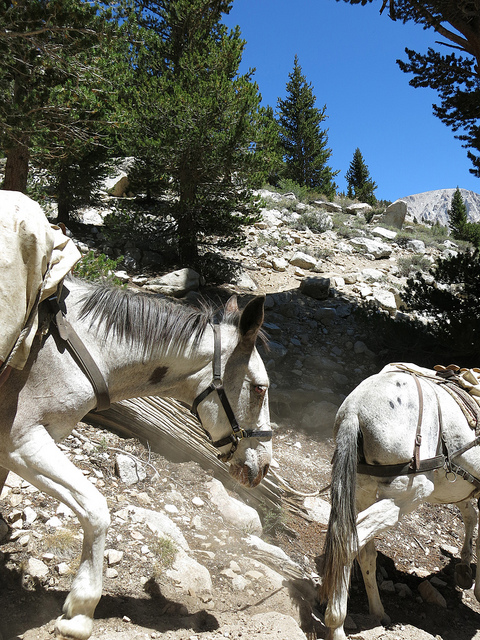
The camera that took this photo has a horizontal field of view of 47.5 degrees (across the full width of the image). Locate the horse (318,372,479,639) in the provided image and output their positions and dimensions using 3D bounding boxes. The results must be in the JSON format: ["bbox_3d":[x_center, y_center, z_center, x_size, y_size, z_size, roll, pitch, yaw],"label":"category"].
[{"bbox_3d":[1.271,1.420,4.304,1.894,1.931,0.684,2,8,-37],"label":"horse"}]

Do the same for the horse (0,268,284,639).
[{"bbox_3d":[-0.630,0.661,3.196,1.036,1.733,1.407,12,8,40],"label":"horse"}]
